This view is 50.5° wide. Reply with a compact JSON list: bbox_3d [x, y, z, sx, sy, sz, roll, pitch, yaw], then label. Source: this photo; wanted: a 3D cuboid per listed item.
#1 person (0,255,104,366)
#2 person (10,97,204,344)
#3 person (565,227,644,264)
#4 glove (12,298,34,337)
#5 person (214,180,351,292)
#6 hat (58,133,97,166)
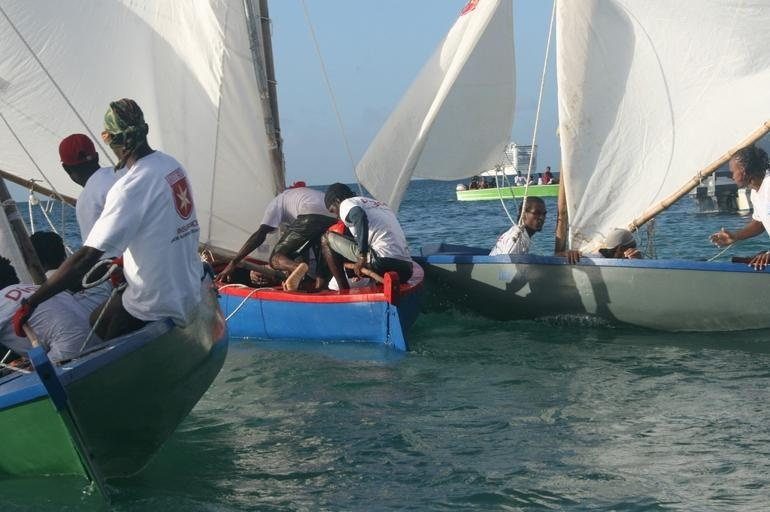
[{"bbox_3d":[-2.690,0.511,6.470,0.791,0.240,0.543,36,45,16],"label":"person"},{"bbox_3d":[-1.969,-0.237,6.197,1.094,1.850,0.628,-2,11,-10],"label":"person"},{"bbox_3d":[2.555,-0.112,9.536,0.817,0.335,0.422,-2,6,16],"label":"person"},{"bbox_3d":[-2.691,0.463,6.155,0.118,0.324,0.242,17,39,-17],"label":"glove"},{"bbox_3d":[-1.418,-0.246,10.408,1.585,0.987,1.351,9,4,36],"label":"person"},{"bbox_3d":[-2.579,-0.899,6.846,0.228,0.168,0.312,-12,20,-21],"label":"hat"}]
